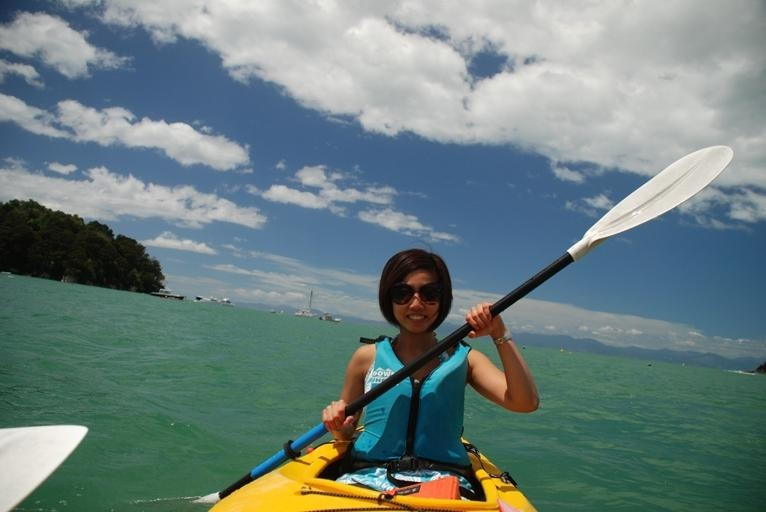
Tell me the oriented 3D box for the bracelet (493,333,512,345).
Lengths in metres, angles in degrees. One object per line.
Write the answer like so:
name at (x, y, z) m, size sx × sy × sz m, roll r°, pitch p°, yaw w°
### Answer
bracelet at (1.275, 0.876, 4.880) m, size 0.197 × 0.139 × 0.146 m, roll 6°, pitch -7°, yaw 33°
